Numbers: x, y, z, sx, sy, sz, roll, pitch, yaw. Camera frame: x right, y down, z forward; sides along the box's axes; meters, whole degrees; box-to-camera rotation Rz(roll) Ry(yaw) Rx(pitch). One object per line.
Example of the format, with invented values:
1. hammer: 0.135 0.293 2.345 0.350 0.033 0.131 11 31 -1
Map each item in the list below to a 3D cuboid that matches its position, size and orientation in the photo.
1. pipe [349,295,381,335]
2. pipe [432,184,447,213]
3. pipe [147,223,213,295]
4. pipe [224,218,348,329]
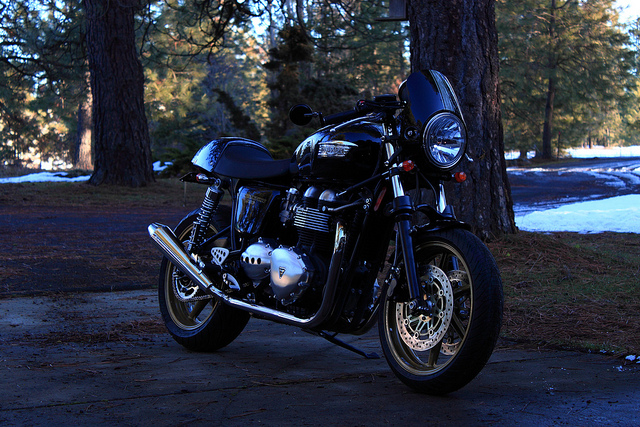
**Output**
1. pipe: 0.394 0.951 7.237 0.072 0.314 0.297 36 -9 -1
2. pipe: 1.079 -0.142 7.032 0.119 0.239 0.174 1 7 3
3. pipe: -1.435 0.473 8.167 0.986 0.238 0.239 43 5 27
4. pipe: -0.413 0.417 7.252 1.210 1.226 0.168 1 41 -35
